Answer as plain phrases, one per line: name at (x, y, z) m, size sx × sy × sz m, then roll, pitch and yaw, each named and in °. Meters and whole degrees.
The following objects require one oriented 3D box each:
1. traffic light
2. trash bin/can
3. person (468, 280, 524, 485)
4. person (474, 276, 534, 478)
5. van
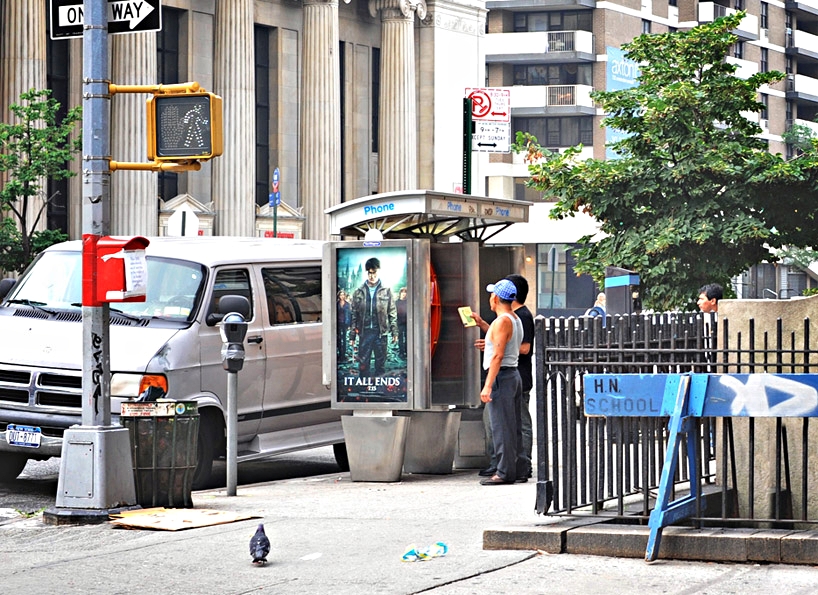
traffic light at (-2.724, -2.103, 23.091) m, size 0.900 × 0.833 × 0.247 m, roll -1°, pitch -2°, yaw 13°
trash bin/can at (-3.066, 1.924, 23.397) m, size 0.928 × 1.327 × 0.370 m, roll 0°, pitch -2°, yaw -9°
person at (1.154, 1.119, 25.023) m, size 0.840 × 2.654 × 1.054 m, roll -2°, pitch -3°, yaw 18°
person at (1.267, 1.028, 24.817) m, size 0.849 × 2.412 × 0.901 m, roll 2°, pitch 2°, yaw 16°
van at (-3.116, 0.856, 24.795) m, size 3.581 × 2.690 × 6.202 m, roll -6°, pitch -6°, yaw 26°
